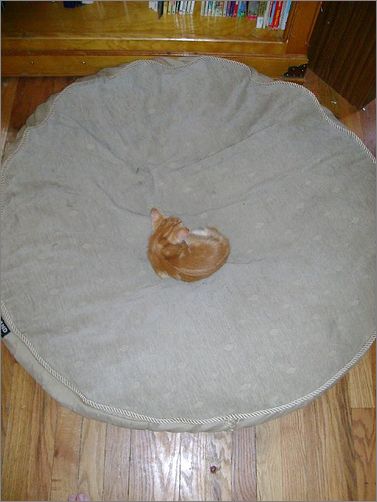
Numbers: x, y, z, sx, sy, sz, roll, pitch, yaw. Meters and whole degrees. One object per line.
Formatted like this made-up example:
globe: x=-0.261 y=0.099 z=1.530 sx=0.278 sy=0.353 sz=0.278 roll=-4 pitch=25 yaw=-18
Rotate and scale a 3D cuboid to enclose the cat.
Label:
cat: x=0.034 y=0.001 z=1.336 sx=0.220 sy=0.305 sz=0.100 roll=-30 pitch=59 yaw=7
